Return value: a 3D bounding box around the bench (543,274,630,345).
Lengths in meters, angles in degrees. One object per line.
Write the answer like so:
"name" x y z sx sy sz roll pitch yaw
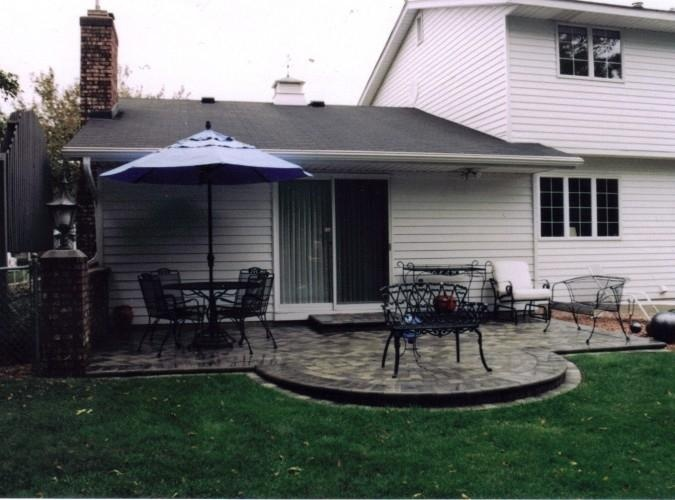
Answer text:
"bench" 5.138 1.209 12.747 1.485 0.988 1.898 -4 -8 42

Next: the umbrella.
"umbrella" -2.236 -0.715 11.373 3.839 2.090 3.276 3 -4 0

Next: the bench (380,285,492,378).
"bench" 1.394 1.063 9.324 1.603 0.958 0.860 0 17 -15
